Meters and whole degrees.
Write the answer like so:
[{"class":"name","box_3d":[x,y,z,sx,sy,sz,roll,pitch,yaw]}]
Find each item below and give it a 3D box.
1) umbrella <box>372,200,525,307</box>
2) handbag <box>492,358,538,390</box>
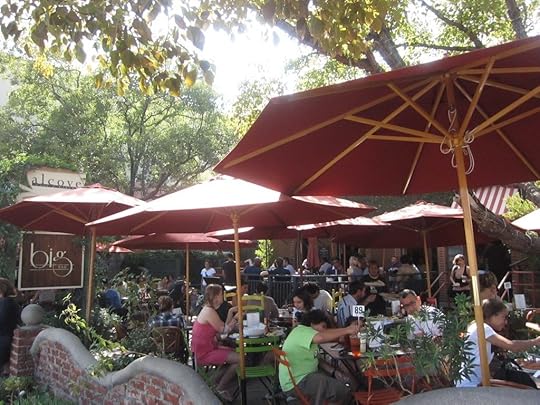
[{"class":"umbrella","box_3d":[3.325,0.935,9.523,1.834,1.455,2.000,9,2,16]},{"class":"handbag","box_3d":[2.562,1.704,4.663,0.550,0.193,0.377,21,-20,-22]}]
